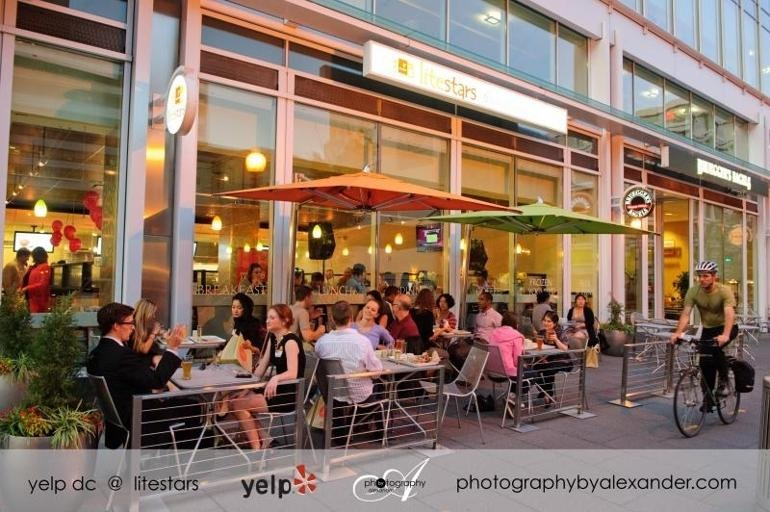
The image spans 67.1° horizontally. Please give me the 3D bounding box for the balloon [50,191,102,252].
[{"bbox_3d":[-5.325,-0.607,10.000,0.790,1.025,0.306,-1,8,-27],"label":"balloon"}]

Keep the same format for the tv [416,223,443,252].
[{"bbox_3d":[1.036,-0.454,13.892,0.687,0.622,0.090,-3,4,-24],"label":"tv"}]

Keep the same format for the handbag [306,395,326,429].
[{"bbox_3d":[-0.921,2.236,8.451,0.281,0.326,0.289,-16,-30,12],"label":"handbag"}]

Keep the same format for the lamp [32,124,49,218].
[{"bbox_3d":[-5.868,-1.419,9.851,0.218,1.518,0.187,-2,8,-30],"label":"lamp"}]

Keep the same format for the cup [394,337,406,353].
[{"bbox_3d":[0.271,1.445,9.354,0.214,0.221,0.210,-1,-1,0],"label":"cup"}]

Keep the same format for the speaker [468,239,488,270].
[{"bbox_3d":[2.405,-0.025,14.964,0.268,0.744,0.580,0,-13,28],"label":"speaker"}]

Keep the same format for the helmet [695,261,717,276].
[{"bbox_3d":[5.297,0.163,9.464,0.443,0.209,0.297,10,-11,-43],"label":"helmet"}]

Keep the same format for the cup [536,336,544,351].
[{"bbox_3d":[2.715,1.542,10.132,0.207,0.274,0.208,0,-3,0],"label":"cup"}]

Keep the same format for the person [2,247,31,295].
[{"bbox_3d":[-6.067,0.235,9.522,0.417,0.733,0.095,-2,8,-31],"label":"person"}]
